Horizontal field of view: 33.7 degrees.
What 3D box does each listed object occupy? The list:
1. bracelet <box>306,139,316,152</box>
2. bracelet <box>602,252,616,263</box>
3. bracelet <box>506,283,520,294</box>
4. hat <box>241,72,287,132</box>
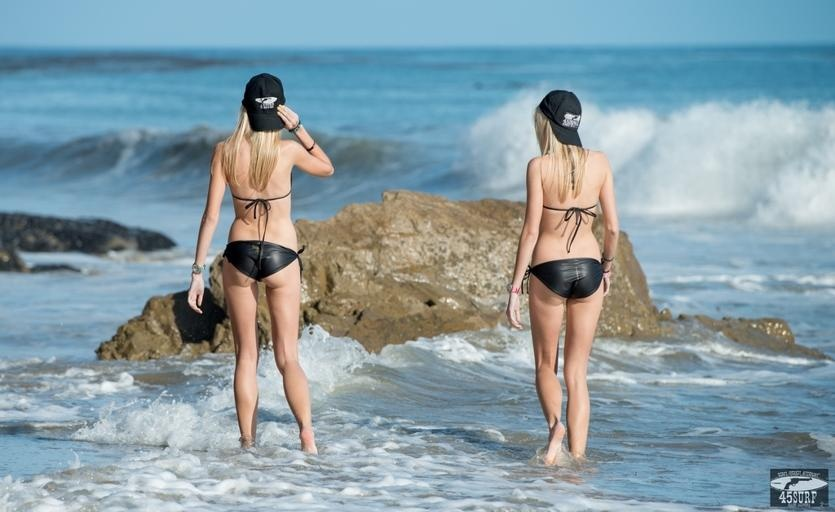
[{"bbox_3d":[-1.607,-1.679,20.882,0.144,0.038,0.133,-35,-11,-46],"label":"bracelet"},{"bbox_3d":[2.965,0.017,21.404,0.189,0.104,0.209,1,-8,6],"label":"bracelet"},{"bbox_3d":[1.490,0.468,21.054,0.206,0.208,0.126,2,-8,5],"label":"bracelet"},{"bbox_3d":[-2.325,-2.404,20.937,0.739,0.548,1.060,-3,37,-19],"label":"hat"}]
